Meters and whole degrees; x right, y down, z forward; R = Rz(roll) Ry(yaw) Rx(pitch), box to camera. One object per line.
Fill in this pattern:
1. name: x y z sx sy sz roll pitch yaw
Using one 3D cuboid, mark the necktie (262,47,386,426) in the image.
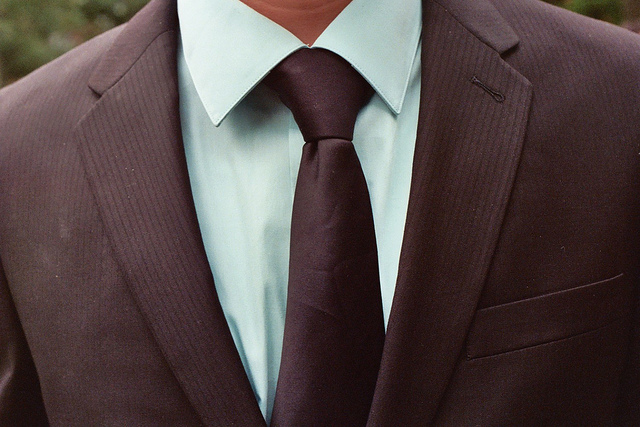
1. necktie: 0.011 0.050 1.887 0.279 0.905 0.245 -2 8 -2
